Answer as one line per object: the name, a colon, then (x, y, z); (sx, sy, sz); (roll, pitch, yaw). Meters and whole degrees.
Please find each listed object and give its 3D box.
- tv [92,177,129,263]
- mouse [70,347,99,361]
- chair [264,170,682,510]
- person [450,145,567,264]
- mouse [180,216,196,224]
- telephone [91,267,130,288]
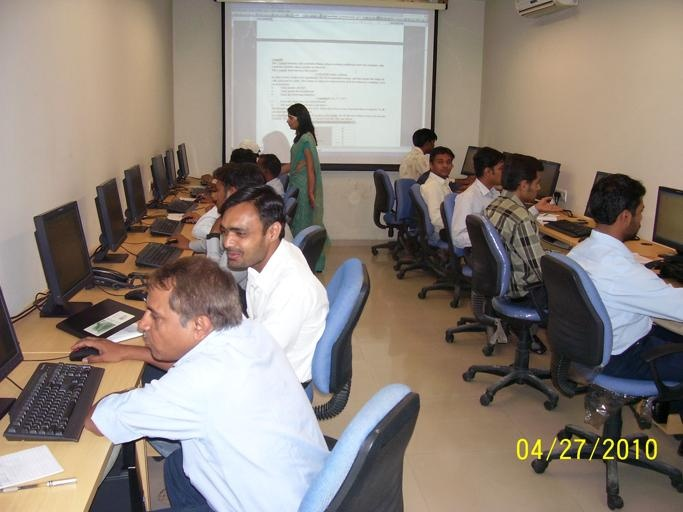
tv: (-1.544, -0.228, 3.360); (0.204, 0.579, 0.470); (1, 15, -7)
mouse: (-1.077, 0.397, 2.103); (0.081, 0.031, 0.052); (-2, 17, -19)
chair: (0.791, 0.362, 3.031); (1.224, 1.580, 1.336); (-1, 14, -3)
person: (1.346, -0.604, 4.540); (0.791, 1.302, 0.751); (-6, 33, 2)
mouse: (-1.292, -0.308, 4.299); (0.041, 0.051, 0.157); (18, 16, 25)
telephone: (-1.312, 0.131, 2.872); (0.150, 0.059, 0.126); (6, 12, -8)
